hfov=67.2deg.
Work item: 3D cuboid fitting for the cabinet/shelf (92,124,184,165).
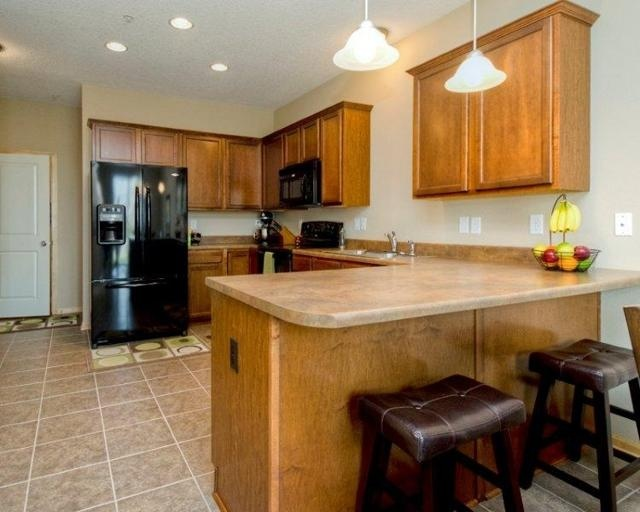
[{"bbox_3d":[-1.963,-1.174,5.059,0.733,0.365,0.243,-1,2,-33],"label":"cabinet/shelf"}]

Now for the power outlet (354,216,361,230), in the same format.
[{"bbox_3d":[0.366,-0.322,4.730,0.023,0.153,0.143,-3,6,-30],"label":"power outlet"}]

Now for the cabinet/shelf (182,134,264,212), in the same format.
[{"bbox_3d":[-1.252,-0.985,5.744,1.045,0.857,0.356,-6,12,-39],"label":"cabinet/shelf"}]

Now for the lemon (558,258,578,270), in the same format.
[{"bbox_3d":[1.375,0.045,2.665,0.082,0.070,0.079,1,3,24],"label":"lemon"}]

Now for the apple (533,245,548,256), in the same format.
[{"bbox_3d":[1.287,-0.029,2.816,0.074,0.075,0.069,-4,-3,17],"label":"apple"}]

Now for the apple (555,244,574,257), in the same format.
[{"bbox_3d":[1.360,-0.026,2.697,0.081,0.073,0.079,-7,2,-19],"label":"apple"}]

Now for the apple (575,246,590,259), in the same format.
[{"bbox_3d":[1.439,-0.017,2.655,0.079,0.069,0.074,-2,2,15],"label":"apple"}]

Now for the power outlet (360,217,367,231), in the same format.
[{"bbox_3d":[0.418,-0.306,4.646,0.018,0.130,0.112,-4,11,-27],"label":"power outlet"}]

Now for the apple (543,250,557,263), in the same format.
[{"bbox_3d":[1.296,0.006,2.725,0.073,0.076,0.070,3,1,22],"label":"apple"}]

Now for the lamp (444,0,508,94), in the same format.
[{"bbox_3d":[0.841,-1.036,2.581,0.231,0.259,0.204,-3,10,-23],"label":"lamp"}]

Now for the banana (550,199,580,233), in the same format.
[{"bbox_3d":[1.458,-0.237,2.875,0.157,0.184,0.149,-6,10,-26],"label":"banana"}]

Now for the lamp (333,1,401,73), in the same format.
[{"bbox_3d":[0.240,-1.120,2.554,0.271,0.210,0.236,-5,11,-35],"label":"lamp"}]
